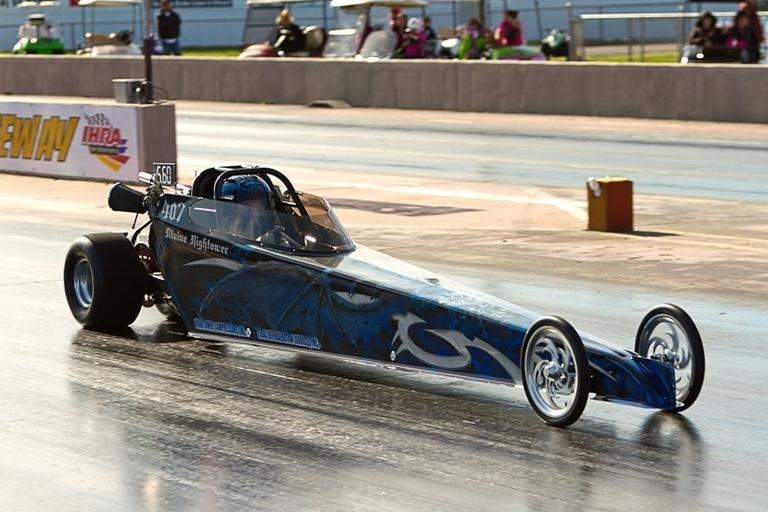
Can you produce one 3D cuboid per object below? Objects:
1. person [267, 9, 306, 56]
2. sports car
[{"bbox_3d":[-3.849,-8.700,34.654,1.163,1.823,1.596,-6,11,-15],"label":"person"},{"bbox_3d":[-0.333,0.290,7.326,5.094,1.270,2.228,6,5,36],"label":"sports car"}]
